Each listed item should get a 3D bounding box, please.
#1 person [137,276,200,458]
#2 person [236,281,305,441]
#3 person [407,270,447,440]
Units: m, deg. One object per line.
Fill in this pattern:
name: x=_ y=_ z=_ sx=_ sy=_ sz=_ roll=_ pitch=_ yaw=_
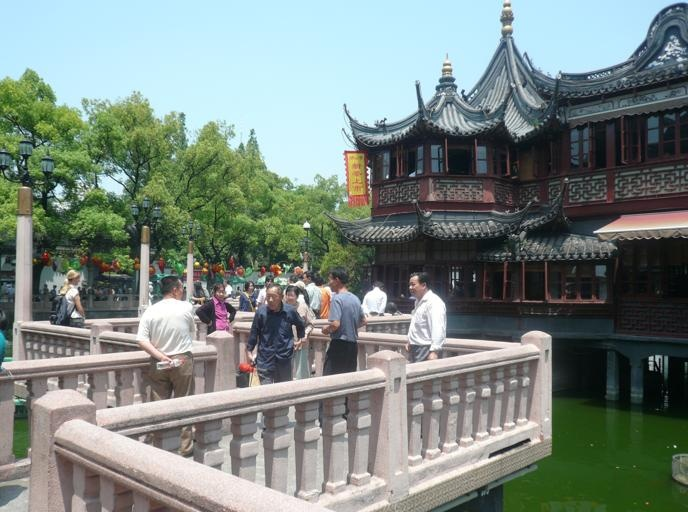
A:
person: x=-3.065 y=1.465 z=14.051 sx=1.006 sy=2.030 sz=0.887 roll=-5 pitch=11 yaw=-24
person: x=-1.249 y=1.373 z=14.635 sx=1.046 sy=1.749 sz=0.562 roll=-2 pitch=10 yaw=-7
person: x=1.518 y=1.176 z=14.742 sx=0.681 sy=1.589 sz=1.193 roll=0 pitch=10 yaw=1
